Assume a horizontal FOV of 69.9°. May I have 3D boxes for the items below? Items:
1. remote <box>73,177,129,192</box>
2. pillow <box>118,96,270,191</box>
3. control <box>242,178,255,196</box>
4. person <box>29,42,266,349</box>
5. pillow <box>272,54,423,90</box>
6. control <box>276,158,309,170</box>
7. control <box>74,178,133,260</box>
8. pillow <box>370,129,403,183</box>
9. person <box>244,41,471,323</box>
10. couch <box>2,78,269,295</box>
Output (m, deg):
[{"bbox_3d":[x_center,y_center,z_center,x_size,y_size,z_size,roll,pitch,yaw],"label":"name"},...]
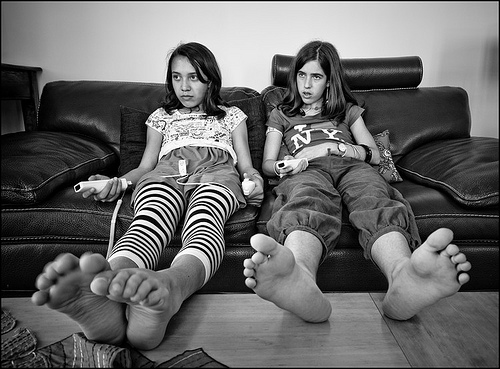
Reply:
[{"bbox_3d":[-0.576,-0.007,1.426,0.229,0.061,0.053,-6,-18,-25],"label":"remote"},{"bbox_3d":[-0.294,-0.301,1.881,0.689,0.462,0.487,1,21,2],"label":"pillow"},{"bbox_3d":[-0.009,0.009,1.409,0.064,0.086,0.051,4,37,6],"label":"control"},{"bbox_3d":[-0.214,-0.060,1.383,0.628,0.518,1.348,0,32,7],"label":"person"},{"bbox_3d":[0.538,-0.628,1.993,0.819,0.226,0.167,-6,16,-7],"label":"pillow"},{"bbox_3d":[0.190,-0.090,1.506,0.154,0.040,0.074,-9,17,-16],"label":"control"},{"bbox_3d":[-0.547,0.134,1.313,0.128,0.056,0.309,8,30,-17],"label":"control"},{"bbox_3d":[0.662,-0.132,1.723,0.063,0.218,0.205,-26,40,17],"label":"pillow"},{"bbox_3d":[0.275,-0.109,1.353,0.609,0.474,1.119,-3,29,3],"label":"person"},{"bbox_3d":[-0.432,0.007,1.401,0.831,0.597,0.468,-1,19,-6],"label":"couch"}]
